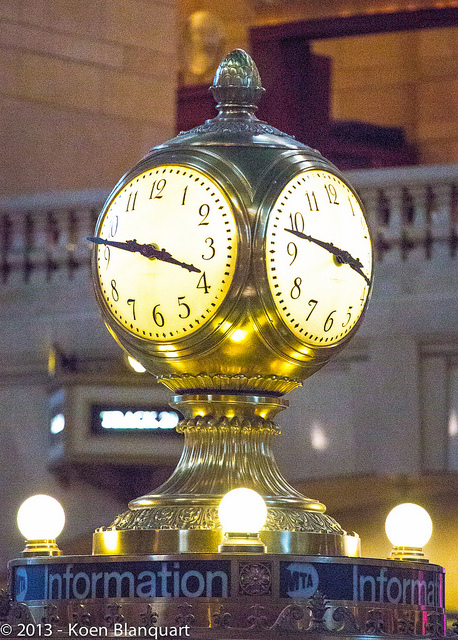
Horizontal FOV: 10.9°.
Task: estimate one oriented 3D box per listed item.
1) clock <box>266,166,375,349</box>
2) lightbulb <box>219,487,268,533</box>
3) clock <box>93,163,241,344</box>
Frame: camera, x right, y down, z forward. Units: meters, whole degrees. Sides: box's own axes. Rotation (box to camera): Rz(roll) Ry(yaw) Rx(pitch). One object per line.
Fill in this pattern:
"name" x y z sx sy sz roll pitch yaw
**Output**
"clock" 0.244 -0.176 6.784 0.062 0.605 0.489 -4 -4 38
"lightbulb" 0.033 0.514 6.569 0.099 0.132 0.165 -10 6 33
"clock" -0.165 -0.185 6.738 0.354 0.370 0.032 33 15 35
